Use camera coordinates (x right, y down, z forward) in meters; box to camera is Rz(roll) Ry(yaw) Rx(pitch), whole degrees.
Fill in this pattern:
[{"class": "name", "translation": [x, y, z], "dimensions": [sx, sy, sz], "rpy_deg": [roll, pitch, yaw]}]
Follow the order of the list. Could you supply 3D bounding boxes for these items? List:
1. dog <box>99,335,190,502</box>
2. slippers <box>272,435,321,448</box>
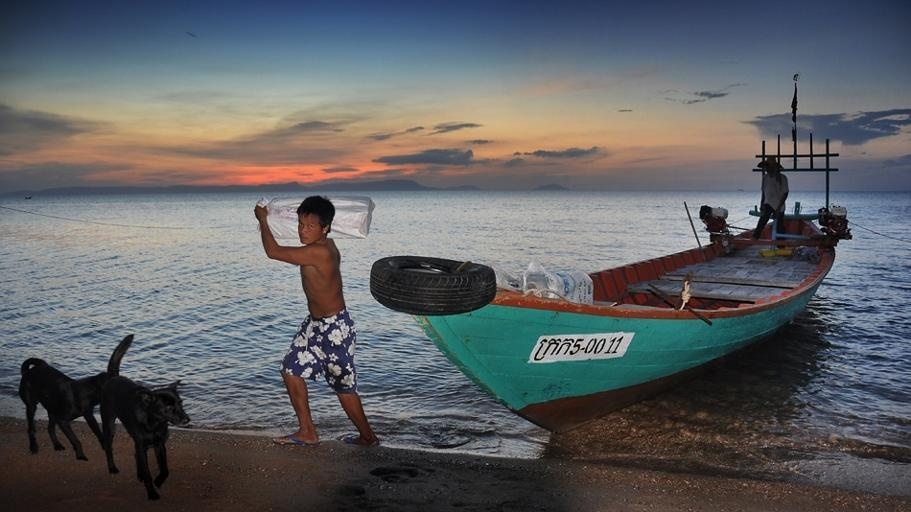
[{"class": "dog", "translation": [-4.886, 2.477, 10.954], "dimensions": [1.027, 2.470, 1.212], "rpy_deg": [-8, 11, -33]}, {"class": "slippers", "translation": [-2.791, 3.188, 12.175], "dimensions": [0.664, 0.109, 0.240], "rpy_deg": [-4, -9, 16]}]
